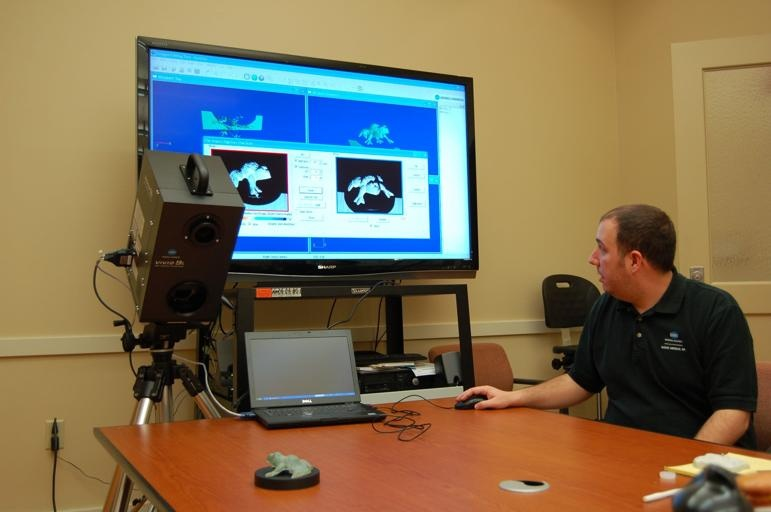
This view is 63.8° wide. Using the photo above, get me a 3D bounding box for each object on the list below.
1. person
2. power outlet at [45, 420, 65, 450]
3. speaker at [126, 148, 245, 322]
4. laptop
[{"bbox_3d":[1.139,0.395,3.282,1.070,1.630,1.149,9,-15,-26],"label":"person"},{"bbox_3d":[-1.728,0.938,3.250,0.080,0.153,0.046,-1,10,-5],"label":"power outlet"},{"bbox_3d":[-0.838,-0.061,2.563,0.541,0.727,0.292,-1,10,-2],"label":"speaker"},{"bbox_3d":[-0.343,0.503,2.600,0.435,0.275,0.400,0,1,-21],"label":"laptop"}]
